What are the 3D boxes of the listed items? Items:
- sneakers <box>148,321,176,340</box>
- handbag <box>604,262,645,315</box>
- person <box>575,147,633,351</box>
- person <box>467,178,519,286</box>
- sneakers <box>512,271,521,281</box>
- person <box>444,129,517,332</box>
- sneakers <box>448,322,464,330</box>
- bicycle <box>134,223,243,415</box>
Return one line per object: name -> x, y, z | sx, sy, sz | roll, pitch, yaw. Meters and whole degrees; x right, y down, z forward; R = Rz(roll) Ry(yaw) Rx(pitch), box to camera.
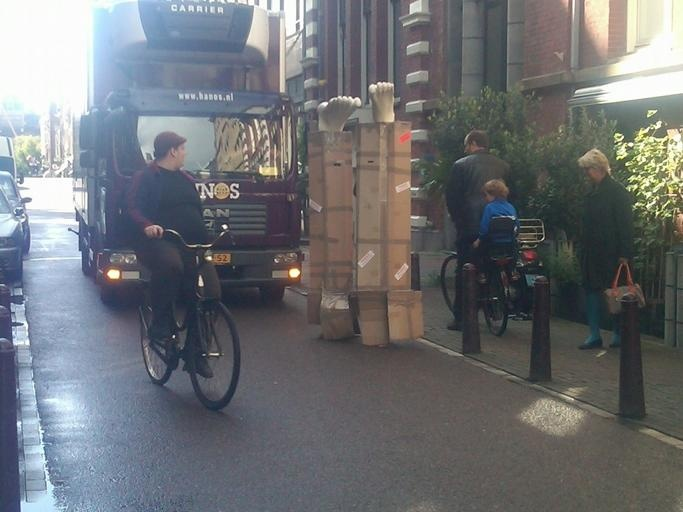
sneakers -> -1.634, 0.671, 6.368 | 0.152, 0.243, 0.085 | 3, 1, -5
handbag -> 3.105, 0.386, 7.636 | 0.443, 0.682, 0.220 | -12, -23, 37
person -> 2.970, -0.070, 7.942 | 0.634, 2.291, 0.455 | 4, 6, 33
person -> 1.895, -0.340, 8.647 | 0.537, 1.215, 0.419 | 1, 6, 13
sneakers -> 2.146, 0.250, 8.577 | 0.085, 0.176, 0.090 | -1, 12, 10
person -> 1.787, -0.300, 9.031 | 0.736, 2.656, 0.689 | 2, -12, -4
sneakers -> 1.509, 0.928, 9.202 | 0.116, 0.045, 0.119 | 4, 7, 42
bicycle -> -1.665, 0.623, 6.138 | 0.745, 1.347, 1.890 | 3, 2, -30
